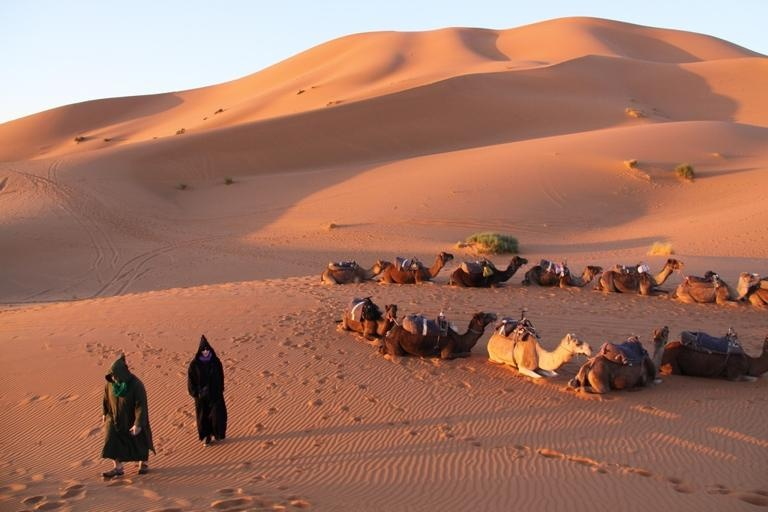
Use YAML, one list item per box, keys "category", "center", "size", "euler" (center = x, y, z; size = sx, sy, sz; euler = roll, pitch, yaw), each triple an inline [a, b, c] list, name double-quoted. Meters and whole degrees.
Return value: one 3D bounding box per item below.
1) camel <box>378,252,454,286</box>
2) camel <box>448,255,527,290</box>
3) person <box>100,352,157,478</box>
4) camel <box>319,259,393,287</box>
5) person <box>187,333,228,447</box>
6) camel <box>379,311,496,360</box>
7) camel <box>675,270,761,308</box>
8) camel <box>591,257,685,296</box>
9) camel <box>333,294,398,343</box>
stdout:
- category: "camel"
  center: [0.817, 0.324, 22.360]
  size: [2.079, 0.936, 0.822]
  euler: [0, 14, 7]
- category: "camel"
  center: [2.897, 0.510, 22.057]
  size: [2.826, 0.877, 0.853]
  euler: [-2, -3, -1]
- category: "person"
  center: [-5.175, 3.161, 14.672]
  size: [0.970, 2.217, 0.796]
  euler: [-6, 15, -13]
- category: "camel"
  center: [-1.023, 0.519, 22.442]
  size: [2.644, 0.694, 0.738]
  euler: [-3, 2, -16]
- category: "person"
  center: [-3.645, 2.851, 15.613]
  size: [0.903, 1.952, 1.019]
  euler: [0, 1, -19]
- category: "camel"
  center: [1.229, 1.899, 17.439]
  size: [2.994, 0.906, 0.998]
  euler: [-1, -6, -3]
- category: "camel"
  center: [8.999, 0.876, 20.108]
  size: [2.111, 0.732, 0.785]
  euler: [2, 14, 19]
- category: "camel"
  center: [7.069, 0.605, 20.976]
  size: [2.204, 0.954, 2.351]
  euler: [-3, -5, -2]
- category: "camel"
  center: [-0.381, 1.506, 17.787]
  size: [0.646, 0.692, 1.953]
  euler: [-4, 3, -44]
